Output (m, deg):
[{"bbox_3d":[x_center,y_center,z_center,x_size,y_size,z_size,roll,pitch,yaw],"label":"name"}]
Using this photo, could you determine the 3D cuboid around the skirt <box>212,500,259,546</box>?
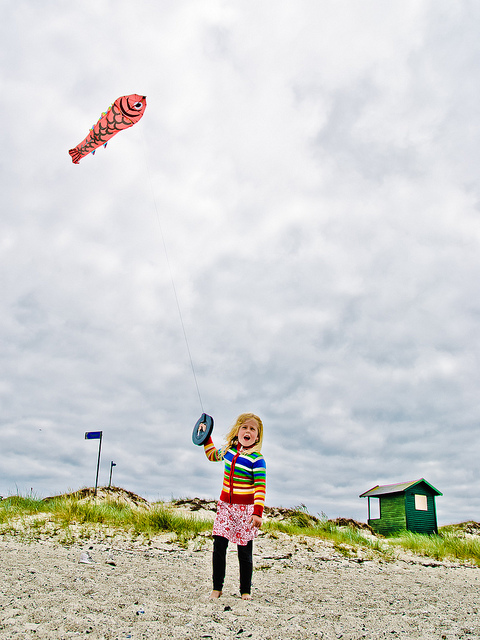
[{"bbox_3d":[-0.027,1.896,5.561,0.455,0.464,0.239,5,3,4],"label":"skirt"}]

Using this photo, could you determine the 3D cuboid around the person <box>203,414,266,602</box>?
[{"bbox_3d":[-0.046,1.777,5.582,0.516,1.752,0.686,5,-19,-2],"label":"person"}]
